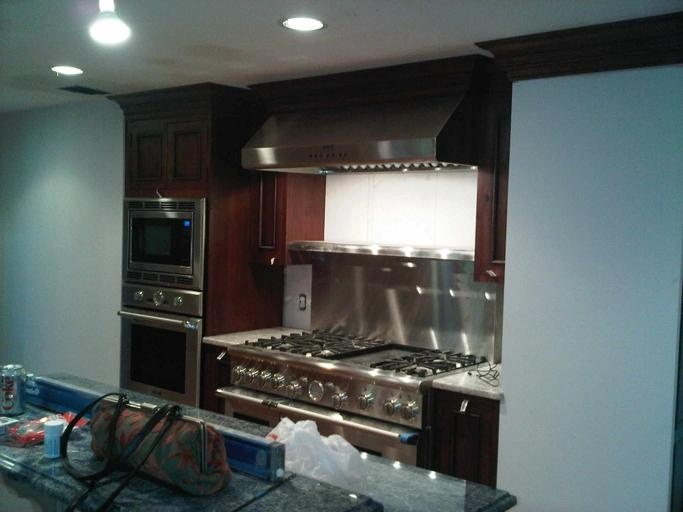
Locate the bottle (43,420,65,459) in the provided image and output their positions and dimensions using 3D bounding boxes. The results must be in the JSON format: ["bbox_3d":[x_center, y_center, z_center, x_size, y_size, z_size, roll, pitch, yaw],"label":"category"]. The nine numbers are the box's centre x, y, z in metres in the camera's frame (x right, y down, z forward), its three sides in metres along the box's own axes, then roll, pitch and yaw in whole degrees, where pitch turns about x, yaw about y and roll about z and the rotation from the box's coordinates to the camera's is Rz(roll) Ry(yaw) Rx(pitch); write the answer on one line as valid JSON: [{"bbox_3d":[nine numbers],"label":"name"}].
[{"bbox_3d":[-0.890,0.594,1.707,0.059,0.094,0.060,7,-13,2],"label":"bottle"}]

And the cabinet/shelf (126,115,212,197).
[{"bbox_3d":[-1.269,-0.736,4.201,0.802,0.618,0.301,2,1,23],"label":"cabinet/shelf"}]

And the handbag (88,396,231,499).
[{"bbox_3d":[-0.570,0.538,1.543,0.482,0.226,0.233,2,1,32],"label":"handbag"}]
